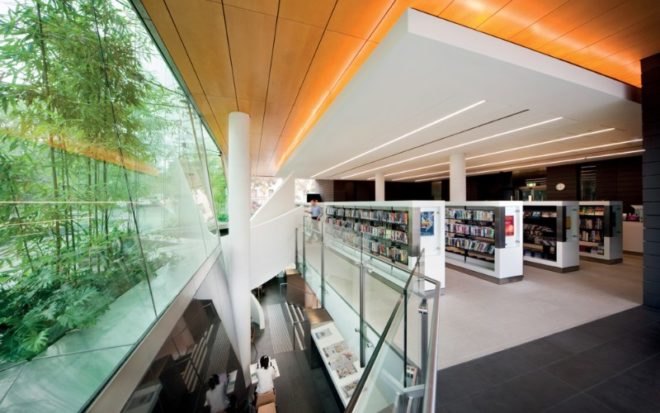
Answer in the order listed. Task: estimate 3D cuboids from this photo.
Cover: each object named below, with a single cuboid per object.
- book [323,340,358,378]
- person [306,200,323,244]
[{"bbox_3d":[0.208,3.193,7.972,0.402,0.046,0.831,-17,16,-8],"label":"book"},{"bbox_3d":[-0.517,0.327,11.632,0.586,1.120,0.344,-1,15,11],"label":"person"}]
